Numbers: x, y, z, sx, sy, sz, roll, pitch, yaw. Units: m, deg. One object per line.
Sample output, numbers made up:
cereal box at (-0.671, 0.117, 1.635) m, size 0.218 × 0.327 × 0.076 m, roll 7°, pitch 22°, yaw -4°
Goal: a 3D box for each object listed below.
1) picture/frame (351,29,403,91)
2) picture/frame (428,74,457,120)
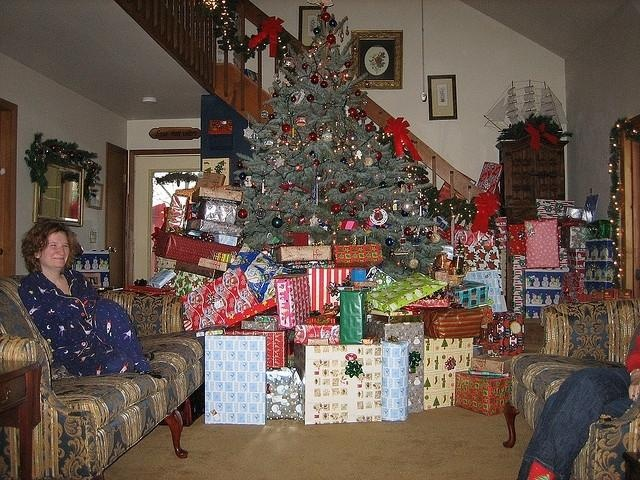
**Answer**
picture/frame at (0.817, -2.540, 8.546) m, size 0.699 × 0.826 × 0.309 m, roll 1°, pitch 10°, yaw 3°
picture/frame at (1.723, -1.984, 8.523) m, size 0.570 × 0.836 × 0.062 m, roll -1°, pitch -5°, yaw -1°
